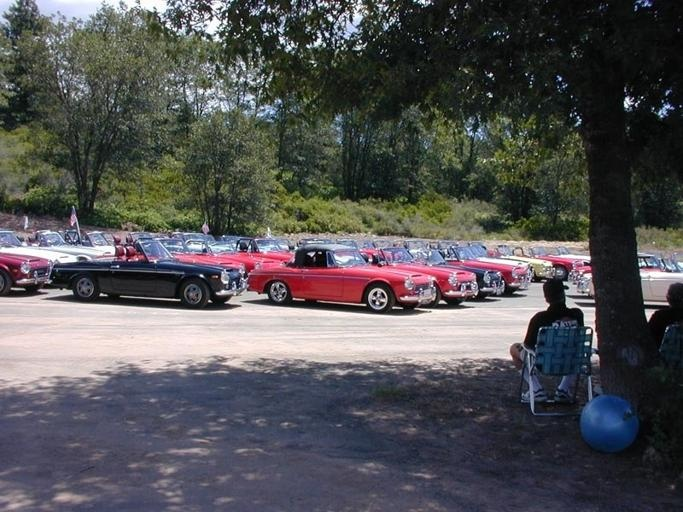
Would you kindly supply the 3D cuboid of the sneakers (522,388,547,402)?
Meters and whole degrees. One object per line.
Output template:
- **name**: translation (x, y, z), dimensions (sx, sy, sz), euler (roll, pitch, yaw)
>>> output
- **sneakers**: translation (2.554, 1.819, 8.686), dimensions (0.389, 0.203, 0.152), euler (0, 3, 5)

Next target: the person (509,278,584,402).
- **person**: translation (2.802, 1.155, 8.927), dimensions (0.888, 1.731, 0.833), euler (0, 1, -7)

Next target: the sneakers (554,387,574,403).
- **sneakers**: translation (2.958, 1.837, 8.825), dimensions (0.323, 0.152, 0.123), euler (8, 9, -18)

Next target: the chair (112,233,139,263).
- **chair**: translation (-5.613, -0.204, 17.547), dimensions (0.545, 0.673, 1.532), euler (-1, -1, -20)

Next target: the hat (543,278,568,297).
- **hat**: translation (2.764, 0.391, 8.800), dimensions (0.319, 0.217, 0.234), euler (20, 15, 33)

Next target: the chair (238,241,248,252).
- **chair**: translation (-3.527, -0.345, 23.639), dimensions (0.276, 0.405, 0.401), euler (7, 2, 3)
